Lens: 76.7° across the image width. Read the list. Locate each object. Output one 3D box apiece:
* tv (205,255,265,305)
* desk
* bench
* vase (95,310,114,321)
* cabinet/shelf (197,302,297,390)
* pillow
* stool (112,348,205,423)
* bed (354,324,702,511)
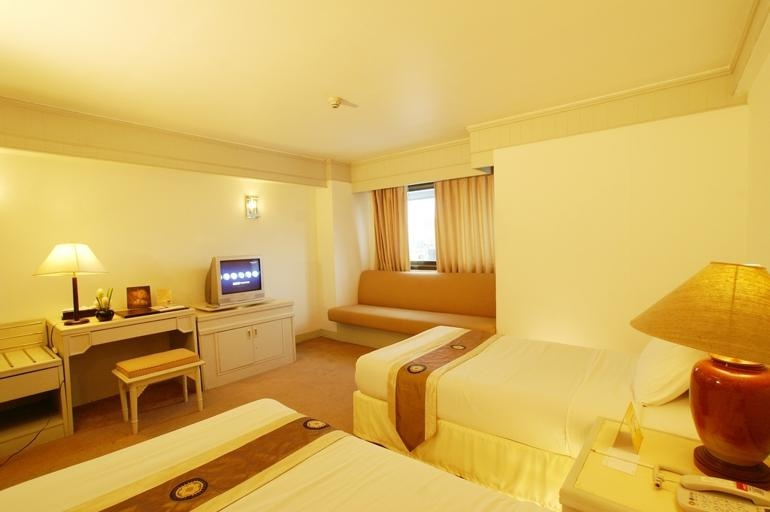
[{"bbox_3d":[-1.631,0.262,5.831,0.665,0.535,0.556,-6,-2,8],"label":"tv"},{"bbox_3d":[-2.580,1.005,4.980,1.223,0.858,0.653,-8,11,-37],"label":"desk"},{"bbox_3d":[0.303,0.741,6.332,2.360,0.965,0.873,1,8,36],"label":"bench"},{"bbox_3d":[-2.679,0.568,4.663,0.121,0.077,0.119,4,-4,-43],"label":"vase"},{"bbox_3d":[-1.641,1.015,5.659,0.373,0.787,1.170,3,9,45],"label":"cabinet/shelf"},{"bbox_3d":[2.016,0.867,3.504,0.136,0.425,0.454,25,-3,-12],"label":"pillow"},{"bbox_3d":[-2.177,1.265,4.729,0.487,0.578,0.707,4,9,44],"label":"stool"},{"bbox_3d":[0.950,1.198,3.831,1.837,0.544,1.196,2,2,36],"label":"bed"}]
